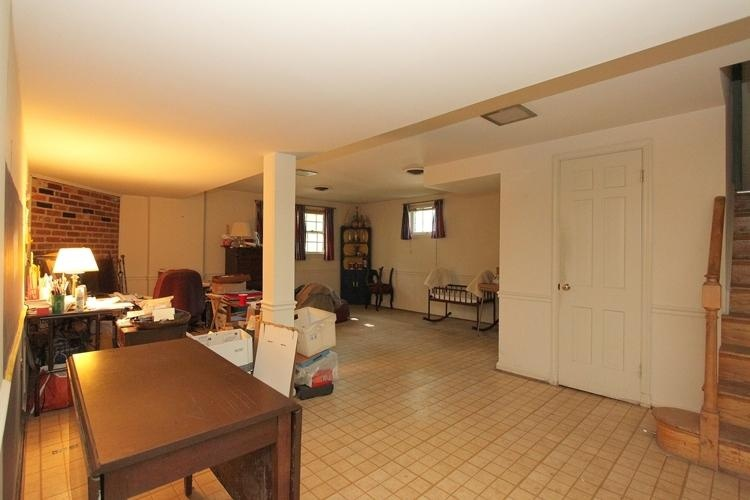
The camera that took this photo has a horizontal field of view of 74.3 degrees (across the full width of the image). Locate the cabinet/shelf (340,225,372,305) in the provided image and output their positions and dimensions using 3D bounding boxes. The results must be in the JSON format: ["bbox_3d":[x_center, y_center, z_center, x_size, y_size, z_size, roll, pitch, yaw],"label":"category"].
[{"bbox_3d":[-0.432,0.345,11.563,0.751,1.864,0.623,-2,5,-1],"label":"cabinet/shelf"}]

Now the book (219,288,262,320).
[{"bbox_3d":[-2.119,0.822,7.710,0.493,0.283,0.480,0,-1,-26],"label":"book"}]

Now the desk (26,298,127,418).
[{"bbox_3d":[-3.386,0.835,5.701,1.076,0.907,1.950,-3,4,-38],"label":"desk"}]

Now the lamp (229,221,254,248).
[{"bbox_3d":[-2.636,-0.325,9.778,0.509,0.459,0.608,-3,5,-15],"label":"lamp"}]

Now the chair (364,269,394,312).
[{"bbox_3d":[0.101,0.865,11.360,0.529,0.838,0.574,-2,-4,42],"label":"chair"}]

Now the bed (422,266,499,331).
[{"bbox_3d":[1.610,0.885,9.222,0.934,1.009,1.315,1,0,-39],"label":"bed"}]

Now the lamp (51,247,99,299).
[{"bbox_3d":[-3.467,0.228,5.967,0.625,0.658,0.587,-2,6,-25],"label":"lamp"}]

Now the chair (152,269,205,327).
[{"bbox_3d":[-2.938,0.780,7.432,0.726,0.968,0.879,-5,5,-36],"label":"chair"}]
